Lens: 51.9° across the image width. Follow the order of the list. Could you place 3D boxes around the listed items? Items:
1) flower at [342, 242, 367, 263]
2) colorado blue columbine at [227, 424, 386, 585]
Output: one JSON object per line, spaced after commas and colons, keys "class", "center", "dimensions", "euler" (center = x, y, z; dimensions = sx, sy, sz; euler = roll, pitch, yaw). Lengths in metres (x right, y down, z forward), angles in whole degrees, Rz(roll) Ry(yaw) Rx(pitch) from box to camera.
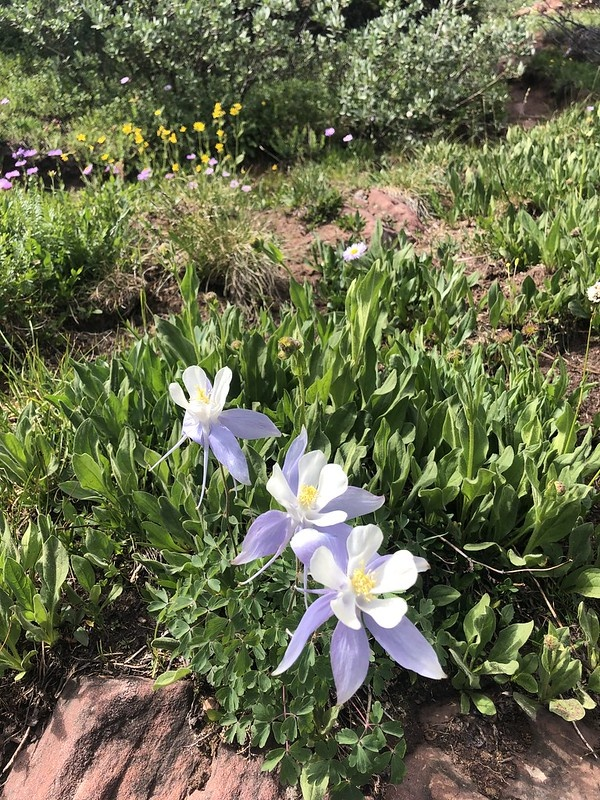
{"class": "flower", "center": [0.298, -0.787, 3.396], "dimensions": [0.123, 0.053, 0.122], "euler": [-36, 34, -12]}
{"class": "colorado blue columbine", "center": [0.011, 0.197, 1.063], "dimensions": [0.288, 0.073, 0.245], "euler": [5, 26, -24]}
